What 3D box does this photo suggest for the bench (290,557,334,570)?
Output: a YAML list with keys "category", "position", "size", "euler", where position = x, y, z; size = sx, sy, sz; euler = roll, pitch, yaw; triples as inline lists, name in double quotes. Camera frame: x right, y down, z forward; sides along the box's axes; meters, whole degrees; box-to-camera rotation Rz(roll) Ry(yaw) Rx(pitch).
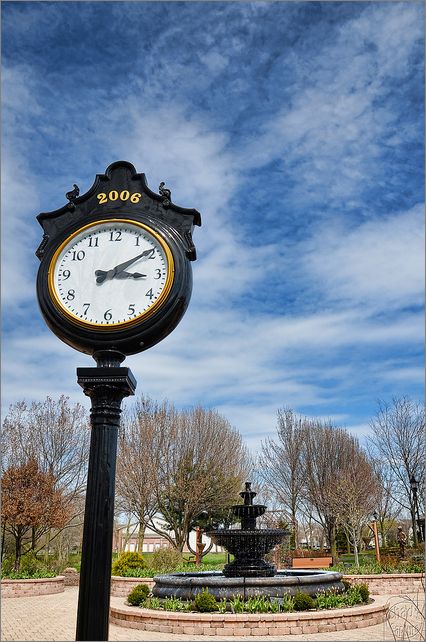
- category: "bench"
  position: [3.489, 8.488, 22.541]
  size: [0.935, 0.442, 1.542]
  euler: [8, -18, -32]
